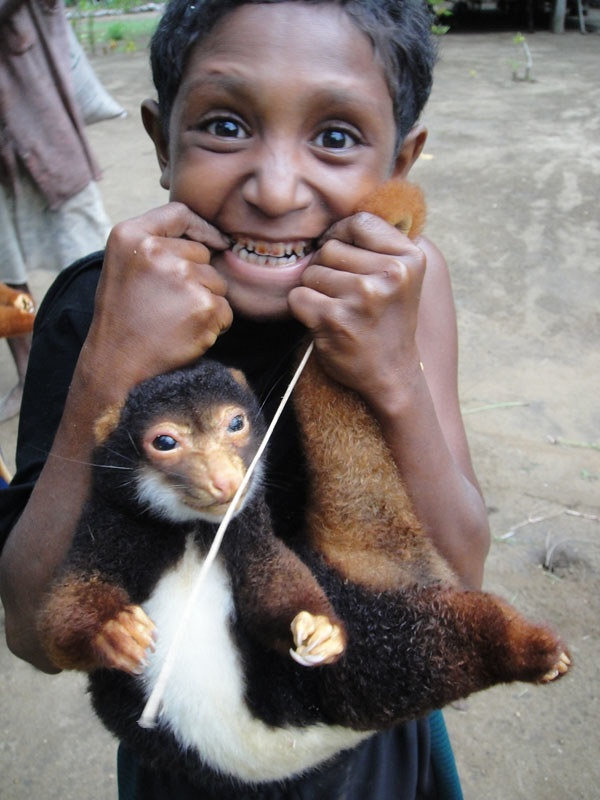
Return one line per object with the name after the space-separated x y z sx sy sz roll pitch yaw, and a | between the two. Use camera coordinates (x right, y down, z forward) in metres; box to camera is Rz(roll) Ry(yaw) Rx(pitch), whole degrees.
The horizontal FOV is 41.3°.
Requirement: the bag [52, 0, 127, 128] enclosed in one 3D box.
-1.174 -1.997 4.889 0.236 0.708 0.708 -29 20 -27 | bag
